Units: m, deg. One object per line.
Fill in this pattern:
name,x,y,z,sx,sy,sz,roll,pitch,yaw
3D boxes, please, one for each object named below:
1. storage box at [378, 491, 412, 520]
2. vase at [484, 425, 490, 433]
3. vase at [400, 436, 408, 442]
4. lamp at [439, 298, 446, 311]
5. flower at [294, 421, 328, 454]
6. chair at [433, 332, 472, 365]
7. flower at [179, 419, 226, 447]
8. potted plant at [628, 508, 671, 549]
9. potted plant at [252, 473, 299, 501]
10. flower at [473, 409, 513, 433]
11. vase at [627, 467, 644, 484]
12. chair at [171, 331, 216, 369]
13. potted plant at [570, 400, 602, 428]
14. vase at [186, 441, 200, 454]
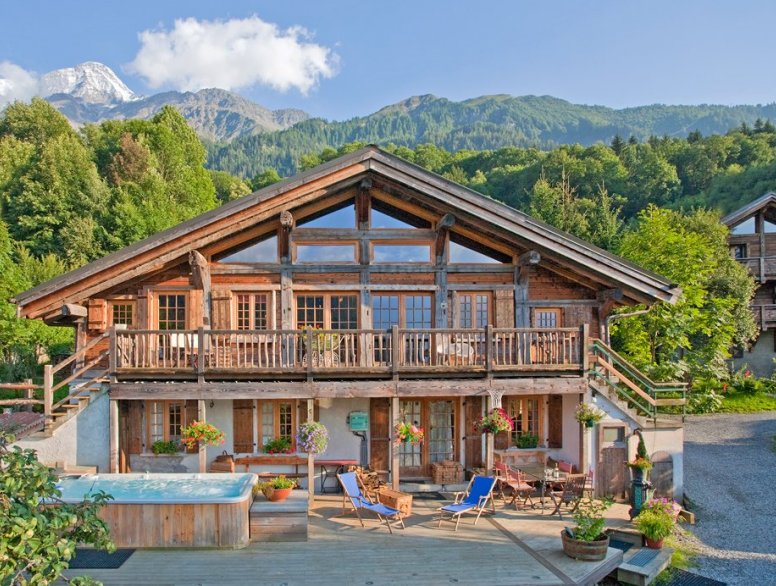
storage box,0.259,10.687,56.971,1.285,0.950,1.302,9,-4,41
vase,4.990,6.912,58.181,0.327,0.398,0.302,0,-3,-2
vase,0.752,7.394,58.020,0.426,0.335,0.257,0,-12,3
lamp,2.787,0.575,60.403,0.521,0.614,0.289,0,-6,-4
flower,-4.014,7.273,57.480,1.431,1.112,1.523,2,3,17
chair,3.284,2.893,59.077,1.550,1.355,1.648,0,-4,5
flower,-9.677,7.110,57.848,1.454,1.095,1.560,1,4,-17
potted plant,13.249,11.746,56.689,1.510,1.782,1.736,0,6,-20
potted plant,-5.808,9.800,57.575,2.012,1.323,2.378,1,-9,-5
flower,5.385,6.563,58.359,1.252,1.038,1.339,-2,-4,24
vase,12.580,9.212,57.912,0.689,0.836,0.755,1,-9,-6
chair,-10.359,2.988,58.571,1.738,1.535,1.906,0,0,1
potted plant,10.238,6.228,58.682,1.090,1.290,1.240,1,-4,-2
vase,-10.239,7.969,58.808,0.737,0.631,0.700,1,-5,-38
